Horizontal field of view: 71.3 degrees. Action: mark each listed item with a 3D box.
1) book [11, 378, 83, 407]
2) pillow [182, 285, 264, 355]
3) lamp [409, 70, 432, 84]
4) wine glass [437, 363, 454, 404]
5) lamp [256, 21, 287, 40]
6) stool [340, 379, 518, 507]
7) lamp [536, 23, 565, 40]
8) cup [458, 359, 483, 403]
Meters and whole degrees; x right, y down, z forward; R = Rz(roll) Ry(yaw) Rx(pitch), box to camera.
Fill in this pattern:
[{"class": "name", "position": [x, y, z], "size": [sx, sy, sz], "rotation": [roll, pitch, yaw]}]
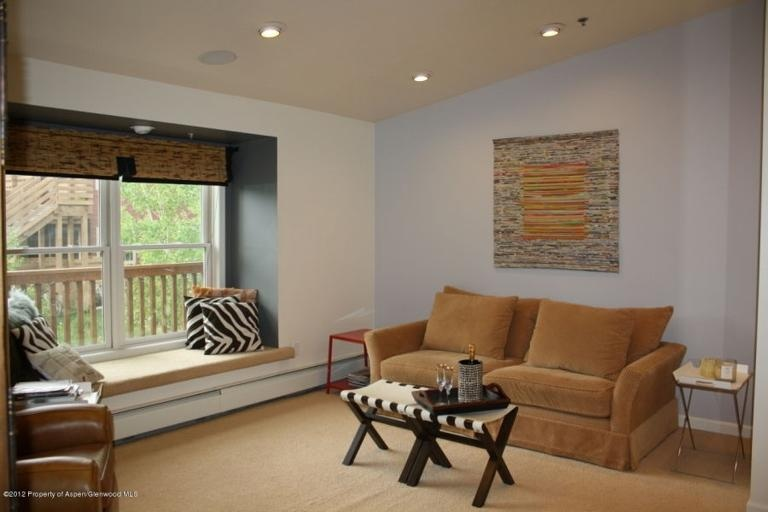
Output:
[{"class": "book", "position": [-2.298, 0.930, 3.655], "size": [0.386, 0.106, 0.317], "rotation": [-8, 13, -37]}, {"class": "pillow", "position": [-1.607, 0.630, 5.372], "size": [0.757, 0.659, 0.221], "rotation": [-1, -17, -26]}, {"class": "lamp", "position": [0.368, -1.763, 5.295], "size": [0.179, 0.077, 0.271], "rotation": [0, 10, 3]}, {"class": "wine glass", "position": [0.464, 0.926, 4.003], "size": [0.136, 0.270, 0.304], "rotation": [1, 11, 8]}, {"class": "lamp", "position": [-0.885, -1.748, 4.162], "size": [0.208, 0.085, 0.261], "rotation": [-2, 10, -10]}, {"class": "stool", "position": [0.311, 1.352, 4.060], "size": [1.278, 0.651, 0.485], "rotation": [6, 13, 30]}, {"class": "lamp", "position": [1.465, -1.967, 4.684], "size": [0.211, 0.071, 0.258], "rotation": [1, 10, 10]}, {"class": "cup", "position": [0.619, 0.910, 3.914], "size": [0.171, 0.286, 0.193], "rotation": [4, 12, 23]}]
